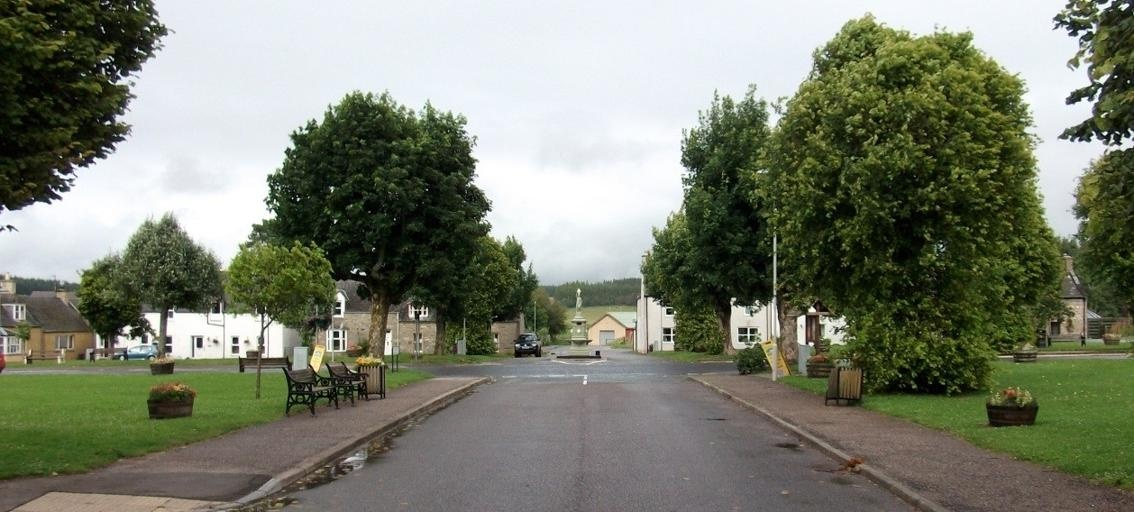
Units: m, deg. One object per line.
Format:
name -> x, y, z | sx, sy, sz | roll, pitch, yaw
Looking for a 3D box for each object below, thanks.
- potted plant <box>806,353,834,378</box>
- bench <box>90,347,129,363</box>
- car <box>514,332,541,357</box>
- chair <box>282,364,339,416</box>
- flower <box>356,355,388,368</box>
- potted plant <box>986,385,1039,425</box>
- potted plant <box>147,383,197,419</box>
potted plant -> 16.227, 7.021, 54.465 | 1.898, 1.421, 1.656 | 0, -11, 2
bench -> -46.438, 9.995, 86.579 | 2.735, 1.231, 6.162 | 8, -15, -39
car -> -4.049, 9.441, 89.377 | 2.267, 2.398, 2.512 | -4, -11, 10
chair -> -12.965, 6.805, 43.530 | 1.723, 2.042, 3.826 | 2, -4, 2
flower -> -11.447, 6.208, 49.791 | 1.538, 0.564, 1.438 | 0, -9, 1
potted plant -> 20.411, 7.062, 39.786 | 1.981, 1.329, 2.067 | -1, -11, 6
potted plant -> -18.910, 7.070, 40.907 | 2.322, 1.598, 2.185 | -5, -15, 3
